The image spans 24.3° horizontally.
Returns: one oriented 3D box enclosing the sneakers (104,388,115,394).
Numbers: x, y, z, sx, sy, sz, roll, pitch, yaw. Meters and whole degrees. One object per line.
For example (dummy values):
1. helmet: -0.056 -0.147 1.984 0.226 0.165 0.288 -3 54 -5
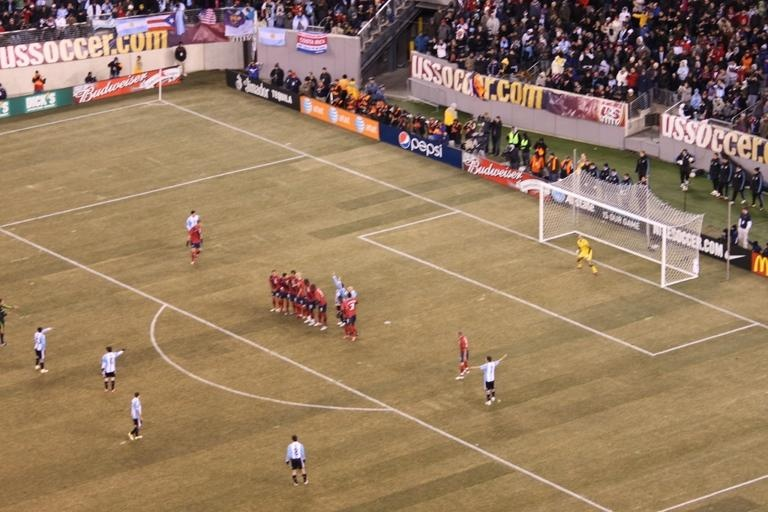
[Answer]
1. sneakers: -13.649 6.660 87.638 0.461 0.237 0.150 -5 2 31
